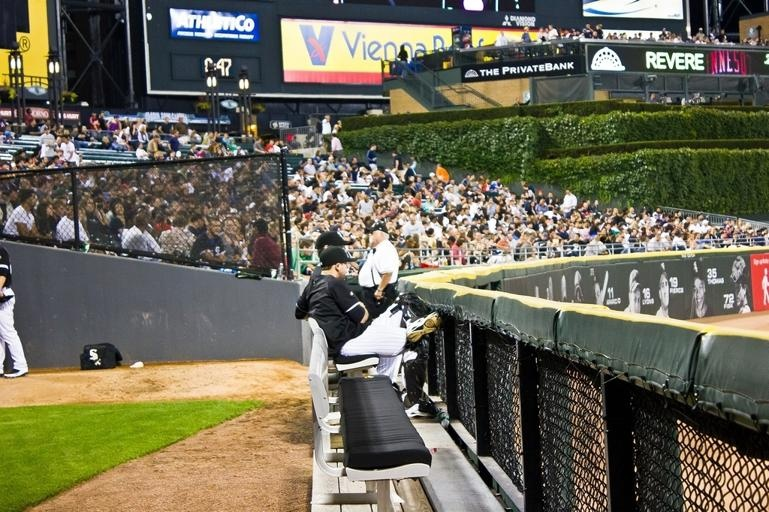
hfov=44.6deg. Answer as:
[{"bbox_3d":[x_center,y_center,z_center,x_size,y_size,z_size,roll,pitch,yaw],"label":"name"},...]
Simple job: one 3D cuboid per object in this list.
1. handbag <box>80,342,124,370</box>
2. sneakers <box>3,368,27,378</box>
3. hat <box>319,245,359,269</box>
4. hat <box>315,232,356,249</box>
[{"bbox_3d":[-5.991,2.184,19.803,0.685,0.492,0.547,1,-17,-17],"label":"handbag"},{"bbox_3d":[-7.384,2.361,18.911,0.553,0.250,0.207,4,-3,-16],"label":"sneakers"},{"bbox_3d":[-0.753,0.029,14.380,0.410,0.239,0.294,-18,12,-19],"label":"hat"},{"bbox_3d":[-0.824,-0.259,15.130,0.449,0.280,0.288,-3,8,-7],"label":"hat"}]
